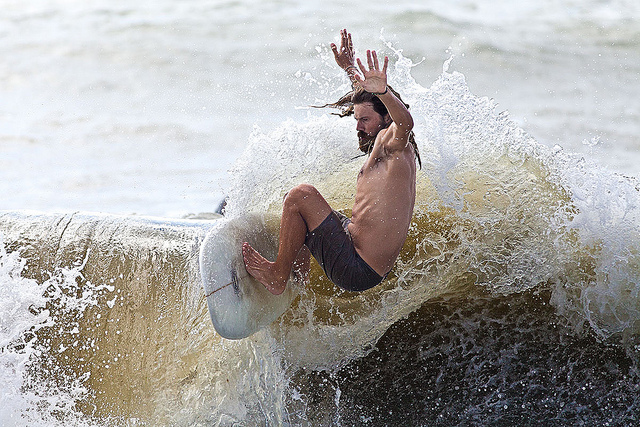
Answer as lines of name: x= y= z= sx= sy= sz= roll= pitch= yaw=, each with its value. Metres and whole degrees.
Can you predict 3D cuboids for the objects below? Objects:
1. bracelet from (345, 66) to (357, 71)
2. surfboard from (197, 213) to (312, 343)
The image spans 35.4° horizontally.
bracelet: x=0.278 y=-1.367 z=9.549 sx=0.089 sy=0.034 sz=0.034 roll=-30 pitch=68 yaw=-11
surfboard: x=-0.674 y=0.530 z=9.537 sx=0.820 sy=0.338 sz=1.425 roll=47 pitch=42 yaw=-13
